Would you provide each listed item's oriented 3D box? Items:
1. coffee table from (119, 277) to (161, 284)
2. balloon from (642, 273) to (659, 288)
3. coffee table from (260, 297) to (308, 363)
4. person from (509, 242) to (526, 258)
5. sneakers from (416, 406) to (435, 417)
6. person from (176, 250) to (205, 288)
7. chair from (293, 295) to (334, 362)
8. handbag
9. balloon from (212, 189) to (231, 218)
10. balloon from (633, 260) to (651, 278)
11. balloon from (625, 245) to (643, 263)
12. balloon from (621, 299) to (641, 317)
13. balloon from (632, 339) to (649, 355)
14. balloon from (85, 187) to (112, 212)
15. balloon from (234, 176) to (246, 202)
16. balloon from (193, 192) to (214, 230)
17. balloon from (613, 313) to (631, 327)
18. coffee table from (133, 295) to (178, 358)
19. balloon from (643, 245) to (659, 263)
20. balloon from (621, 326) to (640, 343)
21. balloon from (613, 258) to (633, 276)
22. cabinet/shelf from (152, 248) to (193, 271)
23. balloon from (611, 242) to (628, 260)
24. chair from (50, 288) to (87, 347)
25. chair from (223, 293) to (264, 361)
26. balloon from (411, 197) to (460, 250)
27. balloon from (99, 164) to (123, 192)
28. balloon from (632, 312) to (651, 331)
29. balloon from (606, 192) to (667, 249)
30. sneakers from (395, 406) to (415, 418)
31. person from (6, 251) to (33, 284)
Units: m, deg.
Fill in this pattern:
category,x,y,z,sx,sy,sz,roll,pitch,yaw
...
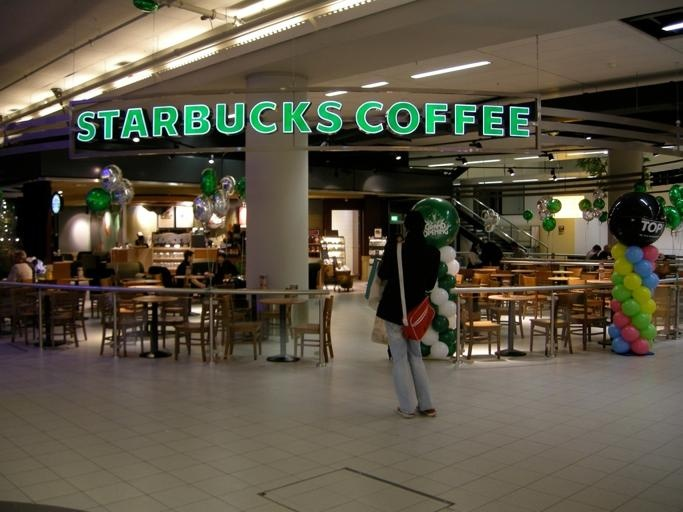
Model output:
category,x,y,z,sx,sy,sz,roll,pitch,yaw
coffee table,-4.731,0.600,12.757,0.874,0.169,1.129,-2,4,-19
balloon,4.972,0.394,8.643,0.270,0.259,0.246,7,-6,-6
coffee table,-0.899,1.112,8.317,1.029,0.967,0.945,0,-2,4
person,7.427,-0.242,22.912,0.516,0.341,1.229,21,10,39
sneakers,0.934,1.697,5.952,0.218,0.084,0.077,-2,-2,28
person,-3.622,0.349,13.084,0.811,0.870,0.727,4,2,-6
chair,-0.452,1.109,8.330,0.658,0.986,0.721,0,4,-2
handbag,0.803,0.399,5.875,0.390,1.052,0.277,0,4,5
balloon,-2.715,-1.164,12.134,0.261,0.616,0.497,0,4,1
balloon,4.755,0.206,8.527,0.274,0.272,0.268,9,-6,-41
balloon,4.612,-0.023,8.665,0.285,0.280,0.273,-9,0,-34
balloon,4.569,0.805,8.634,0.292,0.286,0.265,0,16,3
balloon,4.845,1.431,8.672,0.338,0.262,0.145,-1,4,-14
balloon,-5.601,-1.299,12.456,0.448,0.533,0.780,-2,4,-19
balloon,-2.720,-1.828,14.469,0.230,0.511,1.251,-1,4,-12
balloon,-3.017,-1.005,11.871,0.407,0.661,0.481,-2,4,-28
balloon,4.494,1.021,8.706,0.245,0.239,0.221,-3,-7,-5
coffee table,-2.992,1.117,8.695,0.587,0.976,0.714,-2,4,-26
balloon,5.019,-0.026,8.699,0.272,0.258,0.249,3,7,9
balloon,4.590,1.228,8.673,0.302,0.287,0.275,1,7,11
balloon,4.567,0.158,8.775,0.316,0.241,0.261,-10,-17,-40
cabinet/shelf,-5.094,0.105,16.057,0.845,0.587,0.302,0,-3,-22
balloon,4.510,-0.076,8.854,0.275,0.270,0.260,15,-11,-28
chair,-4.813,1.075,9.523,0.542,1.016,0.813,-2,4,-25
chair,-1.547,1.086,8.376,0.609,1.013,0.401,-1,4,-13
balloon,1.460,-0.513,8.667,0.870,0.813,0.805,-3,11,-9
balloon,-5.193,-1.767,12.211,0.766,0.610,0.374,-6,13,-30
balloon,4.756,1.021,8.562,0.188,0.202,0.184,-36,37,-12
balloon,4.626,-0.564,8.502,0.971,0.918,0.901,1,-1,-14
sneakers,0.692,1.694,5.912,0.076,0.076,0.202,-4,9,-37
person,-6.342,0.198,10.686,0.428,0.588,0.727,-2,4,-25
